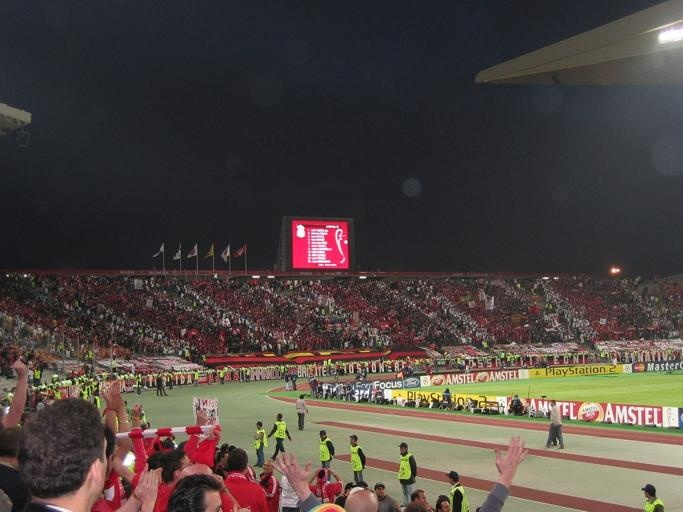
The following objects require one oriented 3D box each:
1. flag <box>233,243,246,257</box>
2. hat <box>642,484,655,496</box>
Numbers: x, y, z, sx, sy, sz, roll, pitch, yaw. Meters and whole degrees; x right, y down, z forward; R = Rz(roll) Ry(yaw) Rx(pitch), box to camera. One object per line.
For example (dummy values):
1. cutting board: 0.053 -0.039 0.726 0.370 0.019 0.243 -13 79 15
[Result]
1. flag: -8.168 -0.292 63.416 1.231 1.411 0.141 2 10 -1
2. hat: 7.360 5.574 18.487 0.214 0.246 0.308 -2 -2 31
